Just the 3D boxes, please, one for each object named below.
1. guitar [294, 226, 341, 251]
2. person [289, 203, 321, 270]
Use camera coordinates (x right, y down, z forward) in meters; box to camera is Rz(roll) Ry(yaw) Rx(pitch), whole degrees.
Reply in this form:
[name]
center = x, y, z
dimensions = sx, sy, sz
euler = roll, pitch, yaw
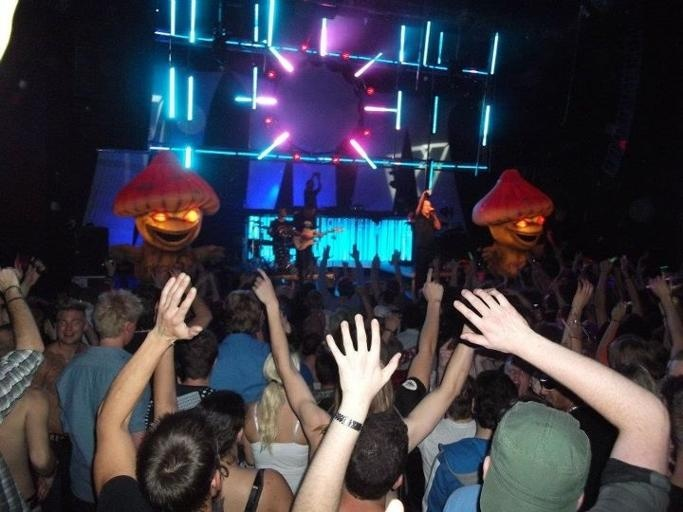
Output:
[guitar]
center = -0.453, -0.366, 9.801
dimensions = 0.928, 0.405, 0.110
euler = -14, 4, 6
[person]
center = -0.644, -0.335, 9.814
dimensions = 0.452, 1.157, 0.149
euler = 3, -4, 19
